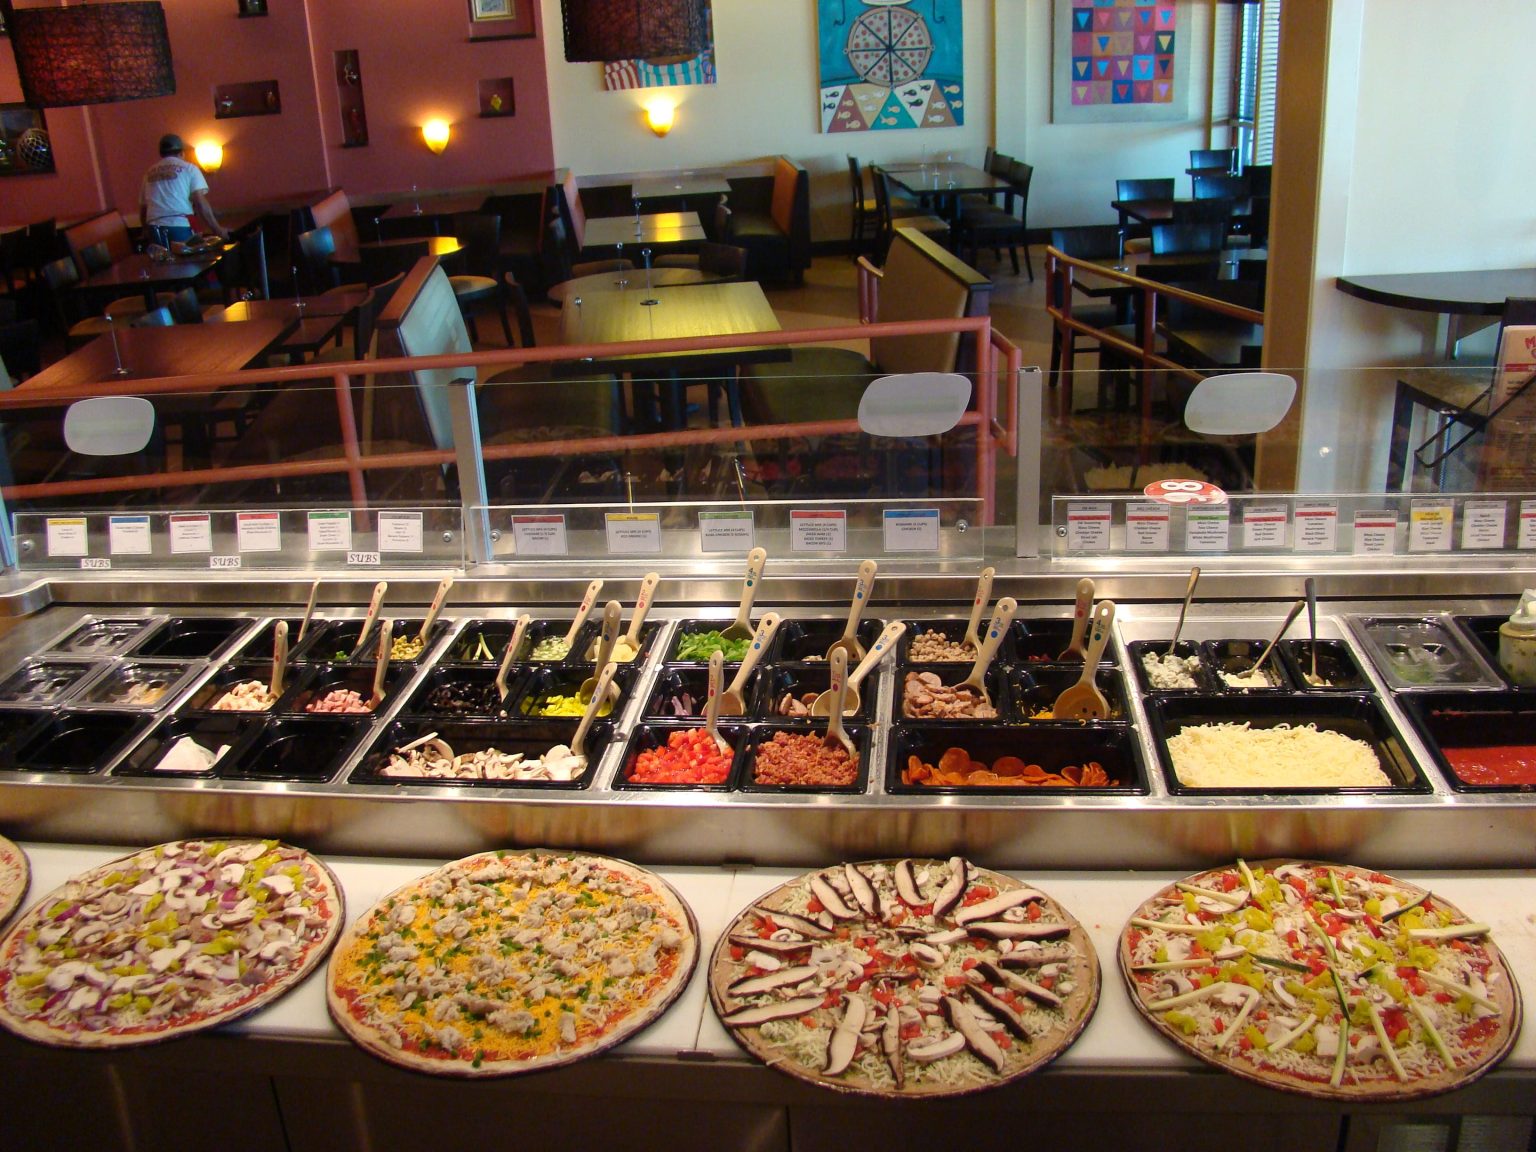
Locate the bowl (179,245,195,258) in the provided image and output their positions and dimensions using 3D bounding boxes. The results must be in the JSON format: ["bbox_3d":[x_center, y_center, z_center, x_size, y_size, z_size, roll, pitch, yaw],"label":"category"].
[{"bbox_3d":[-3.450,-1.945,6.939,0.074,0.046,0.110,-21,41,-24],"label":"bowl"}]

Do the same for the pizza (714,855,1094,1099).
[{"bbox_3d":[0.205,0.604,1.789,0.585,0.110,0.434,-5,21,-5],"label":"pizza"}]

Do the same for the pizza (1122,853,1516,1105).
[{"bbox_3d":[0.818,0.589,1.751,0.559,0.110,0.425,-3,21,2],"label":"pizza"}]
